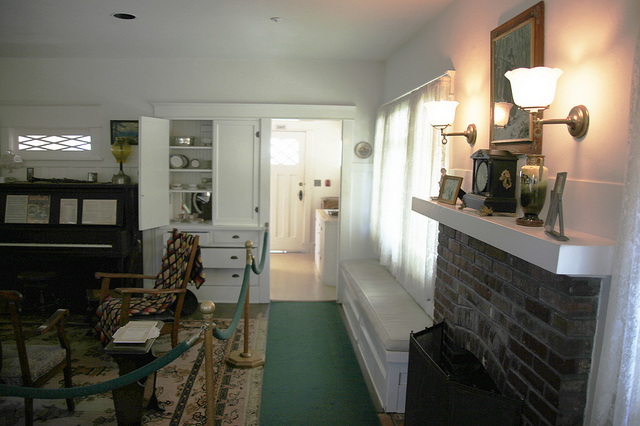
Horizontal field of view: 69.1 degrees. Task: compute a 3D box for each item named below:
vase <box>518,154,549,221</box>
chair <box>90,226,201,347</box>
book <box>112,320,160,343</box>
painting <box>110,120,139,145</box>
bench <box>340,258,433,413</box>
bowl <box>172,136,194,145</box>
[{"bbox_3d":[1.339,-0.162,2.914,0.163,0.400,0.151,5,13,14],"label":"vase"},{"bbox_3d":[-1.802,0.821,4.765,0.918,1.086,0.870,4,4,-23],"label":"chair"},{"bbox_3d":[-1.462,0.949,3.715,0.211,0.031,0.326,2,12,-3],"label":"book"},{"bbox_3d":[-2.555,-1.070,6.095,0.371,0.299,0.027,0,-1,-4],"label":"painting"},{"bbox_3d":[0.705,1.165,5.154,0.682,0.798,2.290,1,13,-8],"label":"bench"},{"bbox_3d":[-1.847,-0.987,6.327,0.271,0.105,0.116,-3,13,-17],"label":"bowl"}]
